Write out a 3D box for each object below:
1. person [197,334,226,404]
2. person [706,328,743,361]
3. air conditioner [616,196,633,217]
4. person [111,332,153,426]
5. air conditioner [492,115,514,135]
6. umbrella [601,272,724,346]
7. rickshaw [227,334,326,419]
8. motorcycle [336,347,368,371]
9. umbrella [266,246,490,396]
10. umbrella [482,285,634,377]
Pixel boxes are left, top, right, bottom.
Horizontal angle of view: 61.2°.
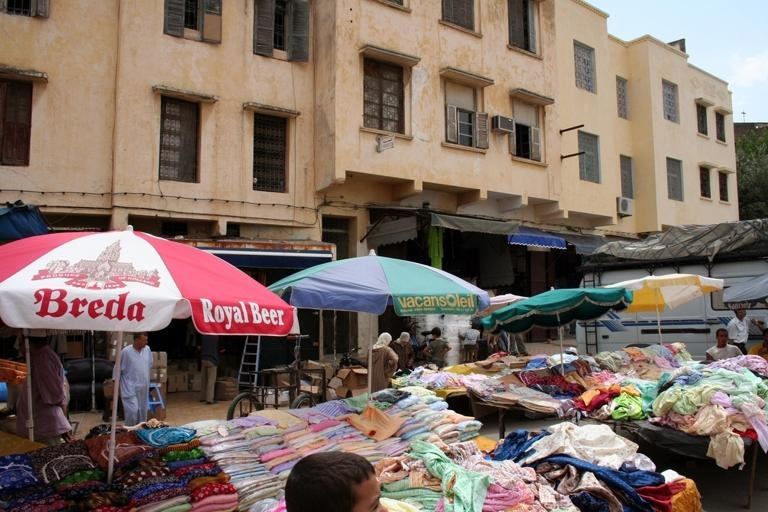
[{"bbox_3d":[-4.523,2.818,16.901,0.764,1.903,0.924,-3,8,-18],"label":"person"},{"bbox_3d":[8.237,2.109,15.759,0.751,0.613,0.376,-9,-34,23],"label":"person"},{"bbox_3d":[9.904,-2.115,27.041,0.305,0.735,0.928,-5,-5,37],"label":"air conditioner"},{"bbox_3d":[-5.076,2.590,13.259,0.665,2.177,0.862,5,9,15],"label":"person"},{"bbox_3d":[4.130,-4.674,22.803,0.733,0.615,0.395,3,-12,-33],"label":"air conditioner"},{"bbox_3d":[6.930,0.909,16.600,2.241,2.053,2.552,0,-5,-1],"label":"umbrella"},{"bbox_3d":[-2.597,2.925,15.304,1.700,2.491,2.565,-2,0,36],"label":"rickshaw"},{"bbox_3d":[-0.867,2.817,17.659,0.590,0.566,1.060,1,3,-16],"label":"motorcycle"},{"bbox_3d":[-0.154,0.844,12.142,2.955,1.911,3.015,9,-7,-16],"label":"umbrella"},{"bbox_3d":[3.996,1.165,15.160,3.222,0.947,1.421,-5,-10,10],"label":"umbrella"}]
